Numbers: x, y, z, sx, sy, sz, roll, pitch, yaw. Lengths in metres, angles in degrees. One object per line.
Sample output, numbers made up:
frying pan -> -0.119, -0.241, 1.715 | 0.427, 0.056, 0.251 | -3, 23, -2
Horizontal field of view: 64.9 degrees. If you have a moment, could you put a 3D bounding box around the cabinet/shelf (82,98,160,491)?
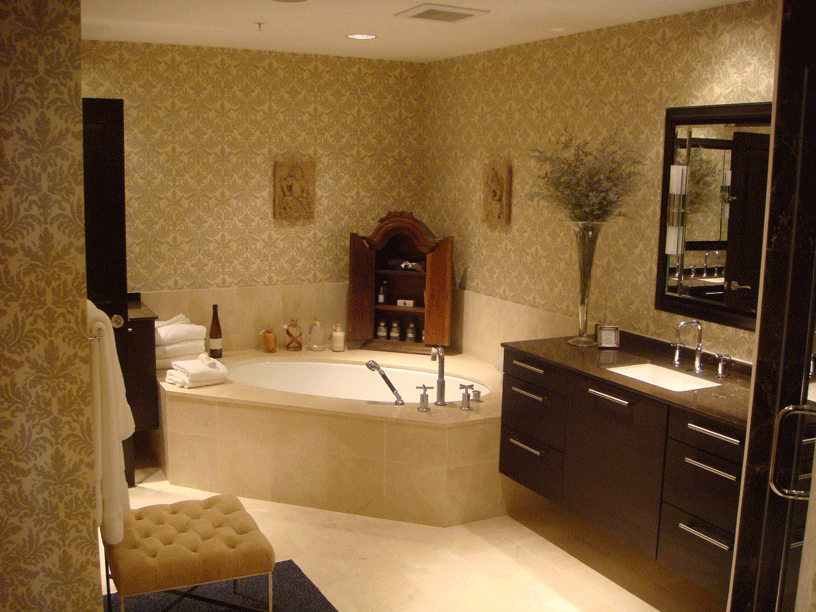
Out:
cabinet/shelf -> -1.924, -0.237, 4.291 | 0.397, 2.227, 0.193 | -3, 11, -23

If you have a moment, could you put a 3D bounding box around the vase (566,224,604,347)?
vase -> 1.110, -0.150, 4.040 | 0.150, 0.770, 0.445 | 4, 11, 16

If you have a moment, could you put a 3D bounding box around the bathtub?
bathtub -> -0.422, 0.844, 4.835 | 2.418, 0.725, 1.523 | 4, 11, 13

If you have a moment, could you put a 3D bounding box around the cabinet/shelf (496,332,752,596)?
cabinet/shelf -> 1.346, 0.738, 3.534 | 0.835, 0.831, 1.596 | -5, 12, -32

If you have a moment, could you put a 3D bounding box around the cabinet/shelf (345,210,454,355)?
cabinet/shelf -> -0.021, -0.172, 5.537 | 0.874, 1.161, 0.580 | 2, -1, 16

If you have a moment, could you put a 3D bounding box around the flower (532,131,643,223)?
flower -> 1.116, -0.810, 4.089 | 0.563, 0.502, 0.710 | 8, 10, 10

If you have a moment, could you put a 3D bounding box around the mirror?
mirror -> 1.648, -0.512, 3.510 | 0.128, 1.167, 0.709 | -4, 12, -28

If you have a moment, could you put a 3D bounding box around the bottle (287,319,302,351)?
bottle -> -0.979, 0.232, 5.471 | 0.150, 0.265, 0.176 | -1, 11, -12

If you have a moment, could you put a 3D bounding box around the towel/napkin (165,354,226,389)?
towel/napkin -> -1.507, 0.468, 4.505 | 0.261, 0.109, 0.252 | -3, 6, -38
